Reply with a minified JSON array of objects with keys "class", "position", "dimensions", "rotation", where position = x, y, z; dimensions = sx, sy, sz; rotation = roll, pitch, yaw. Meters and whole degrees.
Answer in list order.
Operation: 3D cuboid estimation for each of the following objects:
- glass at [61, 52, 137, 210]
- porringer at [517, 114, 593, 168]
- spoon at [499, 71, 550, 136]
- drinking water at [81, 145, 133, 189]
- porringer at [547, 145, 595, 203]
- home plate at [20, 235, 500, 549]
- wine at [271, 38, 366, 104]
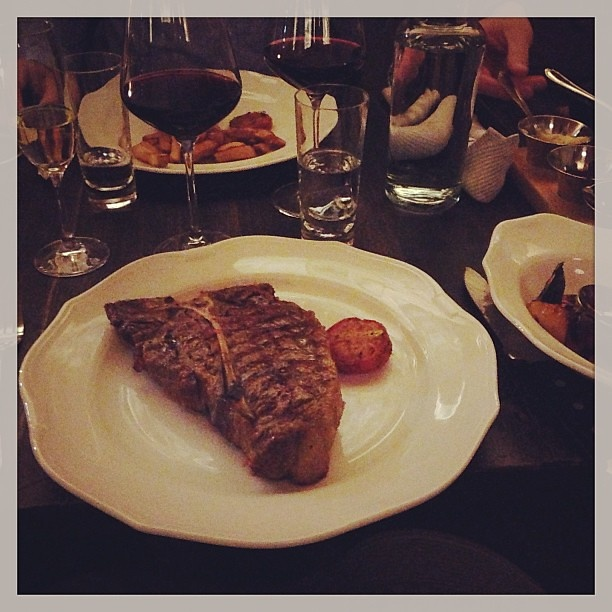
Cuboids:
[{"class":"glass","position":[-0.419,-0.355,1.315],"dimensions":[0.117,0.282,0.117],"rotation":[-10,10,-36]},{"class":"porringer","position":[0.598,-0.417,1.530],"dimensions":[0.174,0.092,0.184],"rotation":[-6,12,-29]},{"class":"spoon","position":[0.539,-0.509,1.578],"dimensions":[0.059,0.043,0.311],"rotation":[-5,43,-6]},{"class":"drinking water","position":[-0.408,-0.282,1.300],"dimensions":[0.084,0.081,0.088],"rotation":[2,40,-1]},{"class":"porringer","position":[0.551,-0.282,1.291],"dimensions":[0.101,0.078,0.104],"rotation":[-13,46,-3]},{"class":"home plate","position":[-0.142,0.009,0.968],"dimensions":[0.524,0.063,0.558],"rotation":[-2,18,36]},{"class":"wine","position":[0.025,-0.485,1.293],"dimensions":[0.218,0.114,0.234],"rotation":[0,34,1]}]
